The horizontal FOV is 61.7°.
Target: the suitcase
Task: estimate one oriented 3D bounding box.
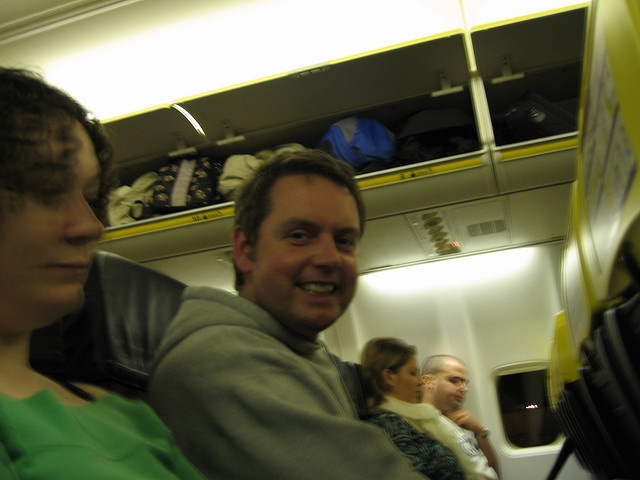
[{"bbox_3d":[1.425,-0.787,3.576,0.447,0.402,0.134,-20,-42,-7],"label":"suitcase"}]

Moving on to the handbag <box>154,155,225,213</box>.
[{"bbox_3d":[-0.993,-0.403,4.048,0.505,0.432,0.153,-1,-25,6],"label":"handbag"}]

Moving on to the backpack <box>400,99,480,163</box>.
[{"bbox_3d":[0.817,-0.746,3.777,0.559,0.516,0.247,-3,-16,11],"label":"backpack"}]

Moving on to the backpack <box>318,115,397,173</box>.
[{"bbox_3d":[0.254,-0.727,3.928,0.430,0.179,0.540,-23,38,-35],"label":"backpack"}]
